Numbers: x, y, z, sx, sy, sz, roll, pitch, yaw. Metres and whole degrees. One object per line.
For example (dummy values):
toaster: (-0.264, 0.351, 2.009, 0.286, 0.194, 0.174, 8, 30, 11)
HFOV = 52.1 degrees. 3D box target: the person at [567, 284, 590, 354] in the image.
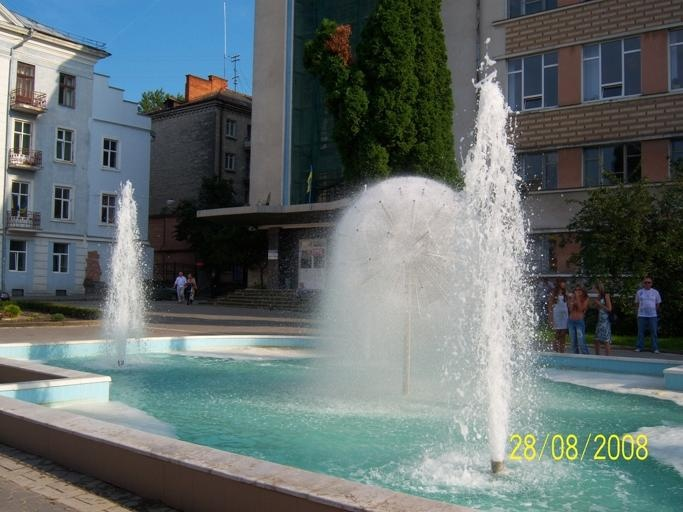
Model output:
person: (5.704, 1.523, 16.789, 0.444, 1.653, 0.726, -1, -3, 18)

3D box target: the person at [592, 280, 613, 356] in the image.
person: (6.338, 1.515, 16.888, 0.341, 1.732, 0.732, -1, -3, 18)

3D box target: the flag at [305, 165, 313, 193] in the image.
flag: (-1.696, -4.015, 36.630, 0.262, 1.484, 0.514, 1, -3, -31)
